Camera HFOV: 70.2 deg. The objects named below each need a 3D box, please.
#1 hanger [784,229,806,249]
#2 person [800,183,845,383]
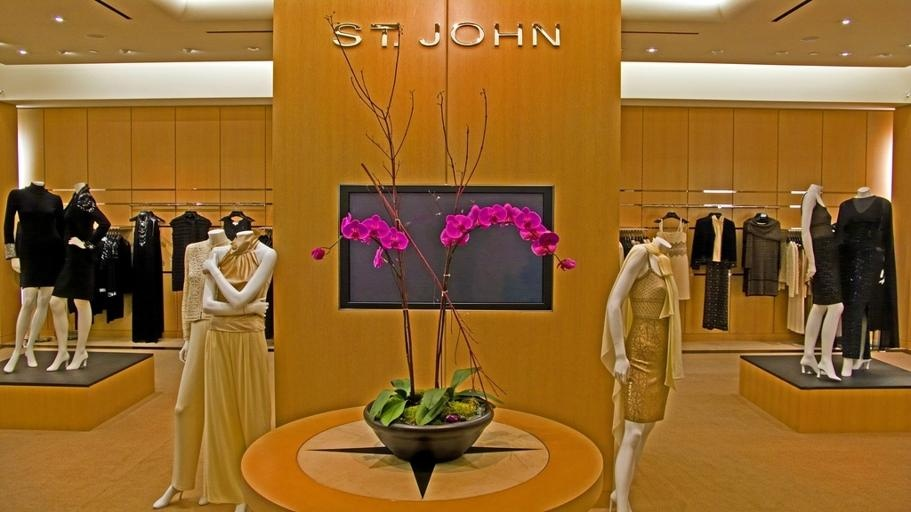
[{"bbox_3d":[5.768,-0.299,11.067,0.362,0.398,0.146,0,-27,11],"label":"hanger"},{"bbox_3d":[4.851,0.326,8.555,0.564,2.521,0.486,0,4,5],"label":"person"}]
